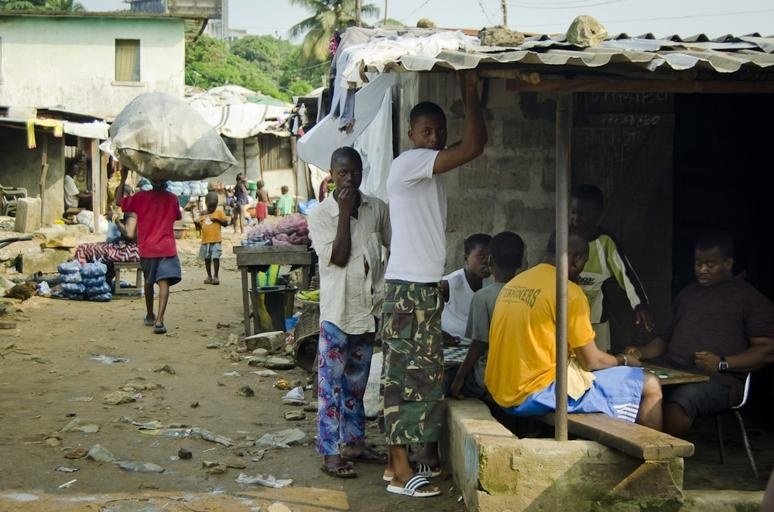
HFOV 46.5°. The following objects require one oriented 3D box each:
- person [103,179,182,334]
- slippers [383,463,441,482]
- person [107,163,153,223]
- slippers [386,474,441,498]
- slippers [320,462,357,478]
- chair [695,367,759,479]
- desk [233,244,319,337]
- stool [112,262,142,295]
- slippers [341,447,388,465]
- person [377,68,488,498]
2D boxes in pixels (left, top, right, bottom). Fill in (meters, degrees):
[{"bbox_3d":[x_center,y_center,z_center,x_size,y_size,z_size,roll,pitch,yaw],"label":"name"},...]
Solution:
[{"bbox_3d":[-3.317,-0.065,12.639,0.852,2.285,0.888,0,6,-14],"label":"person"},{"bbox_3d":[0.228,1.957,8.127,0.527,0.149,0.192,-3,6,-6],"label":"slippers"},{"bbox_3d":[-4.518,-1.082,15.784,0.760,0.743,2.249,-8,16,-19],"label":"person"},{"bbox_3d":[0.229,2.026,7.922,0.361,0.120,0.197,-1,-3,17],"label":"slippers"},{"bbox_3d":[-0.431,1.961,8.180,0.267,0.068,0.132,-3,-3,44],"label":"slippers"},{"bbox_3d":[3.179,1.605,8.840,0.700,0.869,0.752,-6,-12,31],"label":"chair"},{"bbox_3d":[-1.551,0.427,12.628,1.209,1.371,1.467,-2,6,-5],"label":"desk"},{"bbox_3d":[-4.462,0.351,15.348,0.692,0.606,0.659,0,7,-8],"label":"stool"},{"bbox_3d":[-0.214,1.889,8.526,0.445,0.149,0.160,0,2,7],"label":"slippers"},{"bbox_3d":[0.349,0.271,7.835,0.768,3.675,0.539,2,6,1],"label":"person"}]
